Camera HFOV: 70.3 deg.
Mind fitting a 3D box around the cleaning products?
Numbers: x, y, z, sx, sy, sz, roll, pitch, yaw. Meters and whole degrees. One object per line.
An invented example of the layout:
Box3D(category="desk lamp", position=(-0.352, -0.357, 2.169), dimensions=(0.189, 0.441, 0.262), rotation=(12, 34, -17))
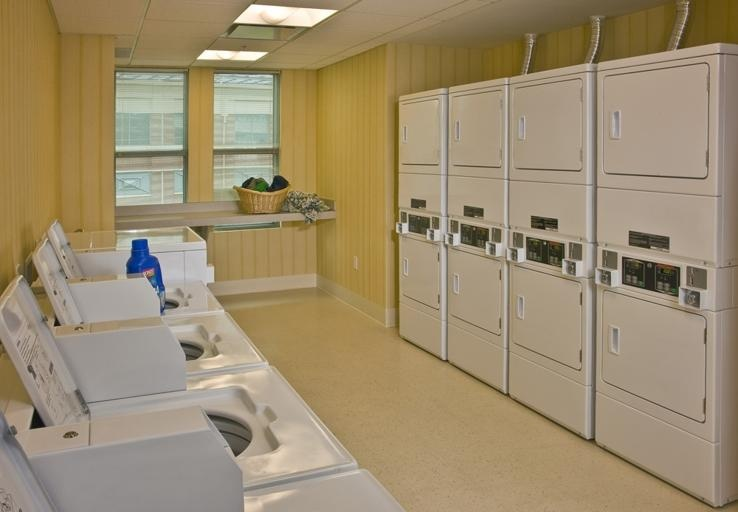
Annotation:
Box3D(category="cleaning products", position=(-1.063, 0.107, 2.491), dimensions=(0.151, 0.375, 0.503), rotation=(-6, 13, -23))
